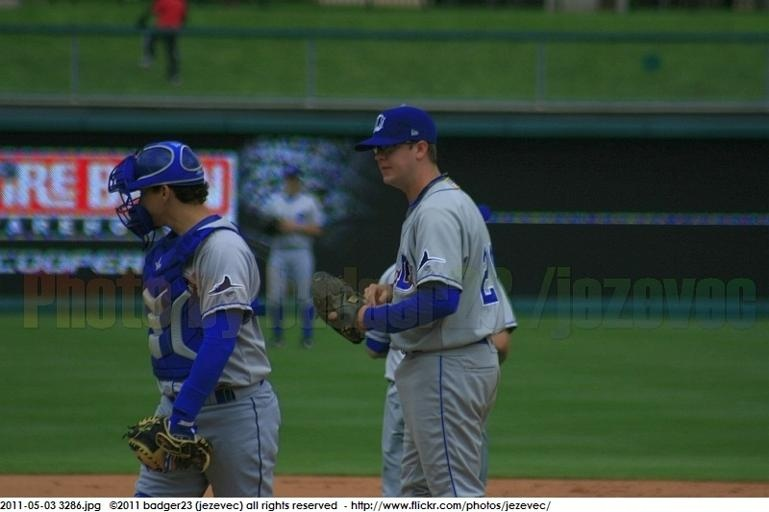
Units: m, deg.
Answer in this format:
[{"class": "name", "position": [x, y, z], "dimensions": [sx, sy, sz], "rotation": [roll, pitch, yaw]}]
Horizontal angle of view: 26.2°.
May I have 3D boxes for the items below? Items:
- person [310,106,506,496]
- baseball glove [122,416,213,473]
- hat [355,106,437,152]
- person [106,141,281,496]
[{"class": "person", "position": [0.347, 0.372, 12.926], "dimensions": [1.364, 3.100, 0.557], "rotation": [0, -6, 3]}, {"class": "baseball glove", "position": [-1.642, 1.486, 12.593], "dimensions": [0.422, 0.254, 0.535], "rotation": [28, -8, -23]}, {"class": "hat", "position": [0.093, -1.025, 13.095], "dimensions": [0.695, 0.375, 0.490], "rotation": [-3, 0, -22]}, {"class": "person", "position": [-1.433, 0.502, 12.741], "dimensions": [1.262, 2.782, 0.440], "rotation": [1, -6, -4]}]
